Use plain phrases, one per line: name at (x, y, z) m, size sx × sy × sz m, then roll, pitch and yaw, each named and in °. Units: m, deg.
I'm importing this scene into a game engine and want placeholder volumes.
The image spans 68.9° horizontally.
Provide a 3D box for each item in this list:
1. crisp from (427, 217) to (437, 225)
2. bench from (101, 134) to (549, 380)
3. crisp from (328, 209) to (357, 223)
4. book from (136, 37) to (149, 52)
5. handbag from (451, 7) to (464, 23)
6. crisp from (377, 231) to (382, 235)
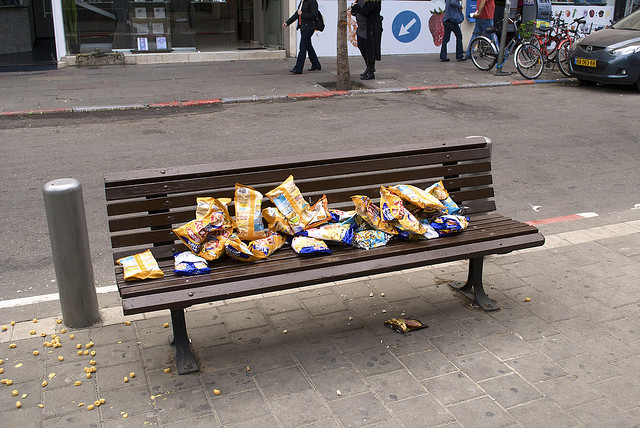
crisp at (1.058, 0.061, 4.387) m, size 0.088 × 0.032 × 0.033 m, roll -16°, pitch 44°, yaw 2°
bench at (0.008, -0.023, 4.110) m, size 3.506 × 0.877 × 1.103 m, roll -8°, pitch 23°, yaw -17°
crisp at (0.204, 0.011, 4.321) m, size 0.181 × 0.047 × 0.138 m, roll -3°, pitch 21°, yaw 16°
book at (-6.931, -6.603, 18.116) m, size 0.465 × 0.503 × 0.186 m, roll -8°, pitch 25°, yaw -14°
handbag at (5.295, -7.622, 17.839) m, size 0.496 × 0.539 × 0.250 m, roll -5°, pitch 25°, yaw -7°
crisp at (0.552, 0.166, 4.243) m, size 0.054 × 0.027 × 0.021 m, roll -7°, pitch 25°, yaw -20°
